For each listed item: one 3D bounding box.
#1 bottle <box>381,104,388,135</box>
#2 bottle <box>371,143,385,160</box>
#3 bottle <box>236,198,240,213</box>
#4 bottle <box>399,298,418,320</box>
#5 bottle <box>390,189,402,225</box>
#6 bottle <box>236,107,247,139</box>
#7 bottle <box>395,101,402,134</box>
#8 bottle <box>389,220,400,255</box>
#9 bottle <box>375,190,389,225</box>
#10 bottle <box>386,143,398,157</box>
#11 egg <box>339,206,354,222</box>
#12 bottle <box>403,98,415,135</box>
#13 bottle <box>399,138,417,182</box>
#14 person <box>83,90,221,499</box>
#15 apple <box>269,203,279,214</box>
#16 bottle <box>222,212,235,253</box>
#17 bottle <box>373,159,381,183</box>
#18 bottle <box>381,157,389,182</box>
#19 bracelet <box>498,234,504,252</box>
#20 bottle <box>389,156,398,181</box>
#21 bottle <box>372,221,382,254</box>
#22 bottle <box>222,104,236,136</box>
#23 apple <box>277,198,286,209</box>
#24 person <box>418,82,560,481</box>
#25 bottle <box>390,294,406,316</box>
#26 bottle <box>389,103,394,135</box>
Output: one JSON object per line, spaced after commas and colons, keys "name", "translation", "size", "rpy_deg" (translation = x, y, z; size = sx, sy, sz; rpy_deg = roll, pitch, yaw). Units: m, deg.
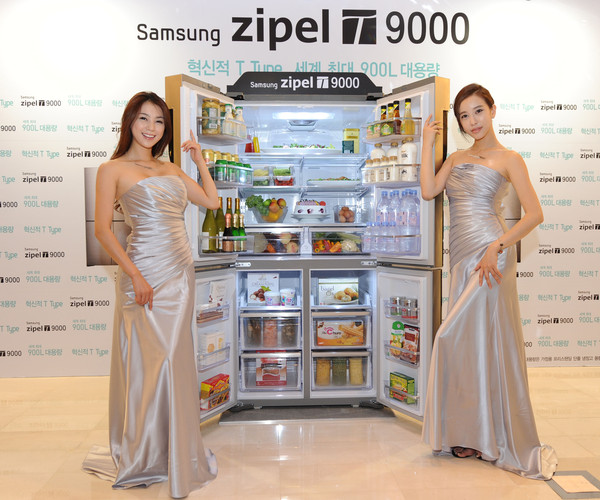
{"name": "bottle", "translation": [0.610, -0.947, 3.591], "size": [0.059, 0.221, 0.107], "rpy_deg": [1, 7, 10]}
{"name": "bottle", "translation": [0.594, -0.754, 3.751], "size": [0.118, 0.123, 0.201], "rpy_deg": [1, 8, 8]}
{"name": "bottle", "translation": [-0.480, -0.347, 3.829], "size": [0.033, 0.115, 0.100], "rpy_deg": [-1, 7, -4]}
{"name": "bottle", "translation": [0.789, 0.433, 3.599], "size": [0.117, 0.138, 0.125], "rpy_deg": [0, 1, 19]}
{"name": "bottle", "translation": [0.716, -0.305, 3.687], "size": [0.070, 0.217, 0.110], "rpy_deg": [-7, 10, -43]}
{"name": "bottle", "translation": [-0.439, -0.956, 3.678], "size": [0.055, 0.233, 0.146], "rpy_deg": [1, 7, 10]}
{"name": "bottle", "translation": [0.700, -0.961, 3.555], "size": [0.053, 0.244, 0.285], "rpy_deg": [1, 8, 11]}
{"name": "bottle", "translation": [0.687, -0.097, 3.679], "size": [0.109, 0.232, 0.072], "rpy_deg": [5, 8, 35]}
{"name": "bottle", "translation": [0.641, -0.312, 3.783], "size": [0.069, 0.199, 0.134], "rpy_deg": [-6, 9, -38]}
{"name": "bottle", "translation": [0.681, -0.741, 3.643], "size": [0.081, 0.127, 0.137], "rpy_deg": [1, 8, 9]}
{"name": "egg", "translation": [0.397, -0.304, 4.225], "size": [0.110, 0.121, 0.045], "rpy_deg": [-15, -8, -25]}
{"name": "bottle", "translation": [0.767, -0.953, 3.501], "size": [0.096, 0.267, 0.289], "rpy_deg": [1, 8, 13]}
{"name": "bottle", "translation": [0.779, -0.659, 3.563], "size": [0.127, 0.307, 0.203], "rpy_deg": [0, 7, 6]}
{"name": "person", "translation": [-0.877, 0.235, 2.908], "size": [0.718, 2.313, 0.625], "rpy_deg": [-2, 7, -17]}
{"name": "apple", "translation": [-0.218, -0.369, 4.334], "size": [0.068, 0.075, 0.074], "rpy_deg": [2, 19, 3]}
{"name": "bottle", "translation": [-0.538, -0.135, 3.701], "size": [0.083, 0.287, 0.125], "rpy_deg": [-2, 7, -13]}
{"name": "bottle", "translation": [0.569, -0.591, 3.640], "size": [0.060, 0.168, 0.078], "rpy_deg": [1, 7, 9]}
{"name": "bottle", "translation": [0.615, -0.600, 3.614], "size": [0.062, 0.176, 0.116], "rpy_deg": [1, 7, 9]}
{"name": "bracelet", "translation": [1.218, -0.033, 3.018], "size": [0.026, 0.074, 0.054], "rpy_deg": [-7, -26, 6]}
{"name": "bottle", "translation": [0.676, -0.593, 3.563], "size": [0.075, 0.177, 0.100], "rpy_deg": [1, 7, 10]}
{"name": "bottle", "translation": [0.587, -0.103, 3.799], "size": [0.047, 0.234, 0.120], "rpy_deg": [-3, 8, -22]}
{"name": "bottle", "translation": [-0.508, -0.946, 3.581], "size": [0.067, 0.226, 0.157], "rpy_deg": [3, 8, 28]}
{"name": "apple", "translation": [-0.157, -0.414, 4.316], "size": [0.069, 0.093, 0.073], "rpy_deg": [2, 3, 1]}
{"name": "person", "translation": [1.175, 0.150, 3.128], "size": [0.832, 2.368, 0.492], "rpy_deg": [2, 7, 16]}
{"name": "bottle", "translation": [0.726, 0.411, 3.703], "size": [0.111, 0.143, 0.120], "rpy_deg": [0, 6, 0]}
{"name": "bottle", "translation": [0.650, -0.954, 3.553], "size": [0.042, 0.228, 0.165], "rpy_deg": [1, 7, 8]}
